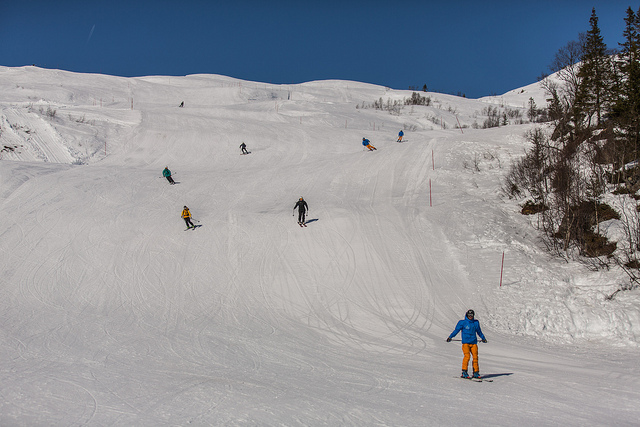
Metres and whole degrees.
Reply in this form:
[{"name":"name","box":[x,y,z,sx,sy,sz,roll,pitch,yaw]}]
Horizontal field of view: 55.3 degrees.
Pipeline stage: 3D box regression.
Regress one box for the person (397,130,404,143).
[{"name":"person","box":[7.803,-7.448,58.633,0.642,1.468,0.855,-2,7,5]}]

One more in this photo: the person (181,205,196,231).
[{"name":"person","box":[-9.496,0.422,43.652,0.909,0.967,1.926,-18,57,2]}]

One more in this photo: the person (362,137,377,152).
[{"name":"person","box":[4.687,-6.572,58.618,1.136,1.485,3.914,30,10,0]}]

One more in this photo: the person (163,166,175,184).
[{"name":"person","box":[-12.565,-3.161,50.479,0.758,1.319,1.237,-7,20,-12]}]

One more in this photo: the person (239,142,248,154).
[{"name":"person","box":[-7.512,-6.387,59.587,0.699,1.106,1.580,-5,19,-7]}]

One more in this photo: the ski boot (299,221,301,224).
[{"name":"ski boot","box":[-1.422,0.624,42.314,0.099,0.184,0.091,-4,19,-5]}]

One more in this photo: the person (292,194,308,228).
[{"name":"person","box":[-1.270,-0.096,42.082,0.842,2.069,0.739,-12,21,-26]}]
